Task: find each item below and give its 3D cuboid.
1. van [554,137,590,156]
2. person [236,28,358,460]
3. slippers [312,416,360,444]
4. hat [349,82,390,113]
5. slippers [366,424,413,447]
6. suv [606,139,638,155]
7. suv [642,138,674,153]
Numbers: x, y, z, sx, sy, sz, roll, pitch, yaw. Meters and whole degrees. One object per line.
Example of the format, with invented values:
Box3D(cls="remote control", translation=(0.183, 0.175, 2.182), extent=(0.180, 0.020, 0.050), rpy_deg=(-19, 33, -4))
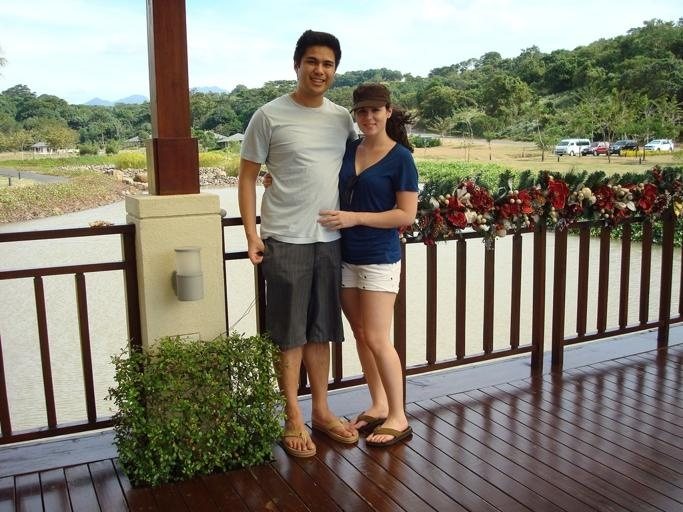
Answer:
Box3D(cls="van", translation=(14.860, -6.936, 35.316), extent=(2.442, 1.110, 1.285), rpy_deg=(-5, 9, -24))
Box3D(cls="person", translation=(-0.149, 0.082, 2.611), extent=(0.582, 1.630, 0.520), rpy_deg=(-5, 16, -19))
Box3D(cls="slippers", translation=(-0.021, 0.847, 2.733), extent=(0.190, 0.061, 0.105), rpy_deg=(14, 21, 36))
Box3D(cls="hat", translation=(0.138, -0.716, 2.500), extent=(0.121, 0.078, 0.155), rpy_deg=(1, 12, 19))
Box3D(cls="slippers", translation=(0.246, 0.864, 2.691), extent=(0.185, 0.054, 0.096), rpy_deg=(-1, 2, -30))
Box3D(cls="suv", translation=(17.200, -6.671, 33.714), extent=(1.858, 0.795, 0.980), rpy_deg=(-2, 17, -5))
Box3D(cls="suv", translation=(19.451, -6.680, 33.414), extent=(2.101, 0.823, 0.952), rpy_deg=(-5, 10, -25))
